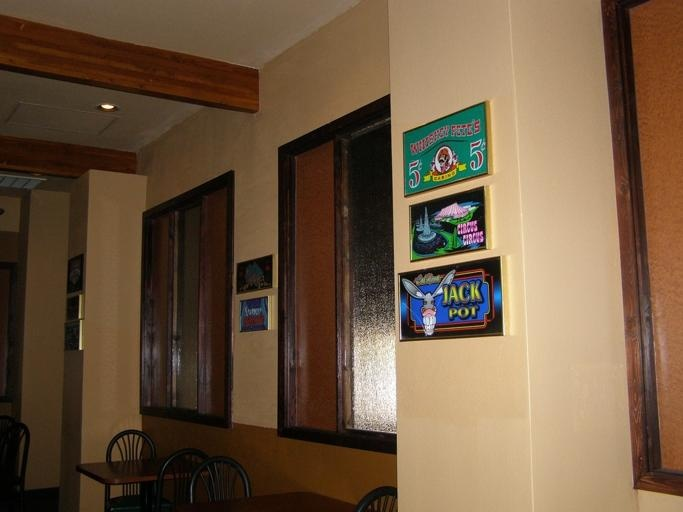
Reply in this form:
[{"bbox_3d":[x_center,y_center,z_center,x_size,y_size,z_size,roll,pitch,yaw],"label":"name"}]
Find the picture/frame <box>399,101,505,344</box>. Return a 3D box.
[{"bbox_3d":[0.363,-0.101,1.983,0.087,0.798,0.480,5,-14,-35],"label":"picture/frame"}]
